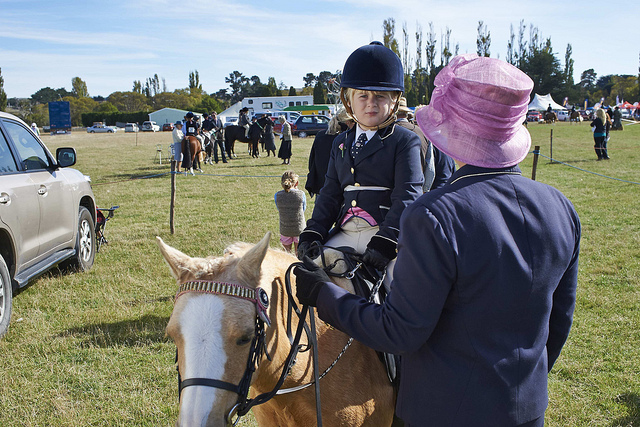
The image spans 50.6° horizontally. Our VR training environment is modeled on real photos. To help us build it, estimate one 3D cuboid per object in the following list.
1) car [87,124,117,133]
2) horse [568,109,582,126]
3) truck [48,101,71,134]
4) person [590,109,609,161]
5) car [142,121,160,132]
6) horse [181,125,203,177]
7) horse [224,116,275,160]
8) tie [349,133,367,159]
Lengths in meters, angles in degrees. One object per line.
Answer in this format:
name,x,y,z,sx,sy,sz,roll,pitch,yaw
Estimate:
car,-19.115,-7.373,59.037,1.981,0.829,1.119,-6,8,-11
horse,17.735,-6.620,46.965,0.744,1.012,2.335,3,15,16
truck,-19.101,-7.022,49.865,1.457,2.517,0.212,-3,-3,-24
person,8.787,-2.452,21.156,0.543,1.674,1.278,5,14,25
car,-15.231,-7.860,61.188,0.796,0.900,1.862,2,15,14
horse,-3.917,-1.949,21.204,0.383,1.428,1.676,0,3,7
horse,-2.862,-3.030,26.871,1.817,1.626,1.309,-4,13,-10
tie,0.421,-0.741,7.261,0.131,0.278,0.102,7,-23,31
